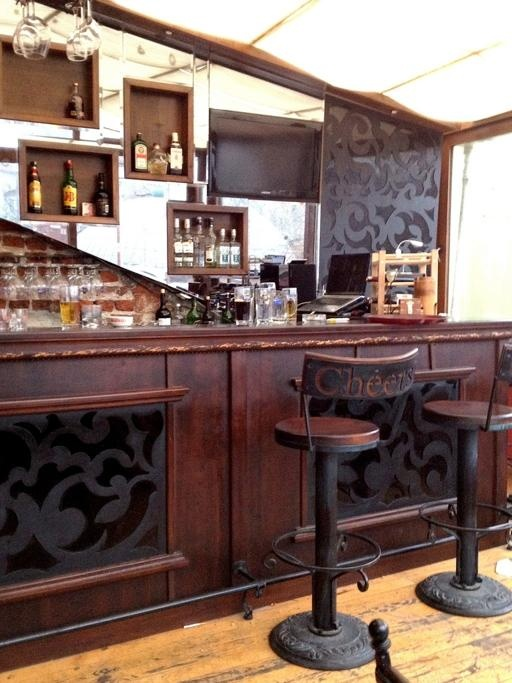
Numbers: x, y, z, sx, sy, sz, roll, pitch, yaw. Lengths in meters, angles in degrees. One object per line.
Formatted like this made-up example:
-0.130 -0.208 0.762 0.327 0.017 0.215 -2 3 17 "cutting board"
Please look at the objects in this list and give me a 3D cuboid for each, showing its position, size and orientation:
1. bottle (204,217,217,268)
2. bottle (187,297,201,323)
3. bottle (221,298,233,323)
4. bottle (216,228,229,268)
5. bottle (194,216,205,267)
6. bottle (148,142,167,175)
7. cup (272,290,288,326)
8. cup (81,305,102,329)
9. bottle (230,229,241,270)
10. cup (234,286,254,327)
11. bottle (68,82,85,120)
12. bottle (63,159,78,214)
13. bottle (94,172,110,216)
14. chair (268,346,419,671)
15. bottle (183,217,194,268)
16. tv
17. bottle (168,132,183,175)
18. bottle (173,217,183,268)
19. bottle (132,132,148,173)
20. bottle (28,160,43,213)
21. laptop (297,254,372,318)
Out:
-0.276 -0.612 3.609 0.071 0.306 0.111 0 1 -5 "bottle"
-0.368 -0.178 3.402 0.079 0.145 0.222 0 1 -6 "bottle"
-0.170 -0.185 3.504 0.072 0.147 0.253 0 1 -4 "bottle"
-0.210 -0.586 3.656 0.094 0.246 0.063 0 2 -27 "bottle"
-0.345 -0.610 3.570 0.066 0.310 0.085 0 1 -7 "bottle"
-0.570 -1.062 3.405 0.054 0.169 0.131 2 2 37 "bottle"
0.103 -0.146 2.470 0.065 0.139 0.195 1 1 3 "cup"
-0.625 -0.094 2.203 0.061 0.111 0.060 5 24 -2 "cup"
-0.134 -0.587 3.694 0.049 0.235 0.075 2 2 42 "bottle"
-0.047 -0.150 2.409 0.072 0.163 0.201 1 1 1 "cup"
-0.953 -1.276 3.084 0.069 0.230 0.087 0 2 -31 "bottle"
-0.980 -0.809 3.067 0.069 0.295 0.104 0 1 -24 "bottle"
-0.838 -0.800 3.188 0.089 0.247 0.090 1 1 0 "bottle"
0.257 0.513 1.874 0.407 0.983 0.399 0 2 -30 "chair"
-0.406 -0.584 3.509 0.057 0.281 0.141 1 1 12 "bottle"
0.031 -1.266 3.938 0.837 0.486 0.079 -4 12 -29 "tv"
-0.481 -1.117 3.478 0.068 0.271 0.118 1 1 11 "bottle"
-0.459 -0.581 3.470 0.050 0.273 0.113 1 1 14 "bottle"
-0.657 -1.061 3.306 0.089 0.224 0.089 1 1 0 "bottle"
-1.128 -0.776 2.962 0.064 0.260 0.075 0 1 -20 "bottle"
0.447 -0.288 3.026 0.356 0.395 0.418 -2 7 -22 "laptop"
